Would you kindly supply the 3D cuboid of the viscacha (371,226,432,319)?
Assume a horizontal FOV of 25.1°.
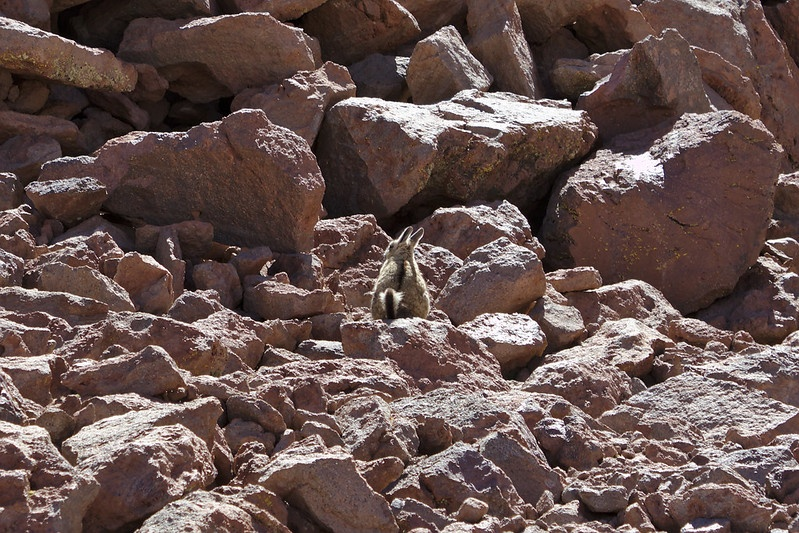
[{"bbox_3d":[0.009,0.146,17.457,0.365,0.619,1.131,5,40,-2],"label":"viscacha"}]
